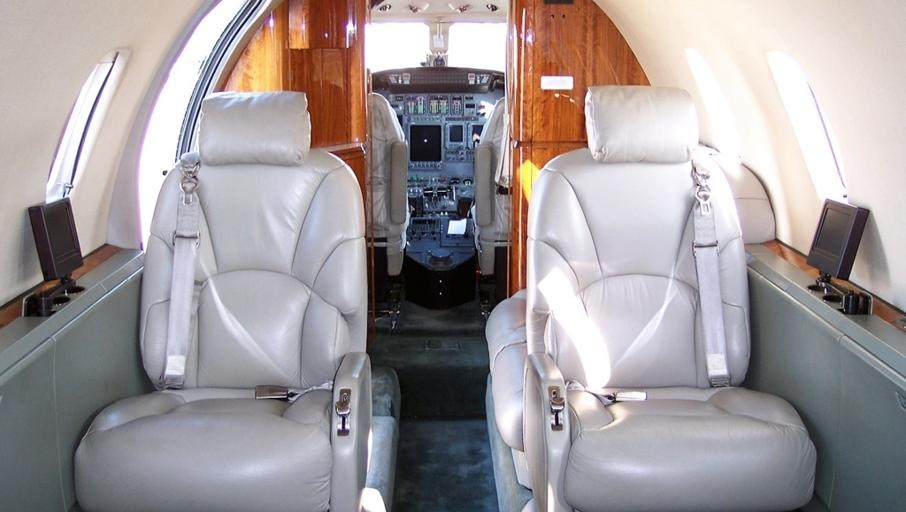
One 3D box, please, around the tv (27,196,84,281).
[{"bbox_3d":[-1.837,-0.071,2.905,0.187,0.373,0.231,8,18,33],"label":"tv"}]
